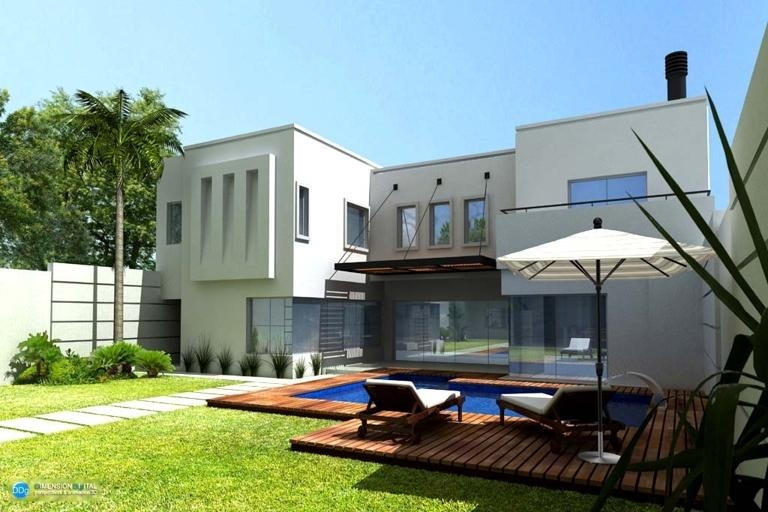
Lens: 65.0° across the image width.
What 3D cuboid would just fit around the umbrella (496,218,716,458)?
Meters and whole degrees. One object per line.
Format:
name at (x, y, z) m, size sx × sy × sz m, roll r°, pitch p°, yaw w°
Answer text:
umbrella at (4.359, 1.617, 12.003) m, size 3.377 × 4.767 × 2.674 m, roll -4°, pitch -9°, yaw 21°

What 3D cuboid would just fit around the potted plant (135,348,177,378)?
potted plant at (-8.311, 3.832, 21.539) m, size 0.878 × 0.968 × 1.312 m, roll -8°, pitch -12°, yaw 41°

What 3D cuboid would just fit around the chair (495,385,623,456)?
chair at (3.682, 3.261, 12.807) m, size 1.187 × 1.080 × 2.219 m, roll 4°, pitch -3°, yaw -25°
